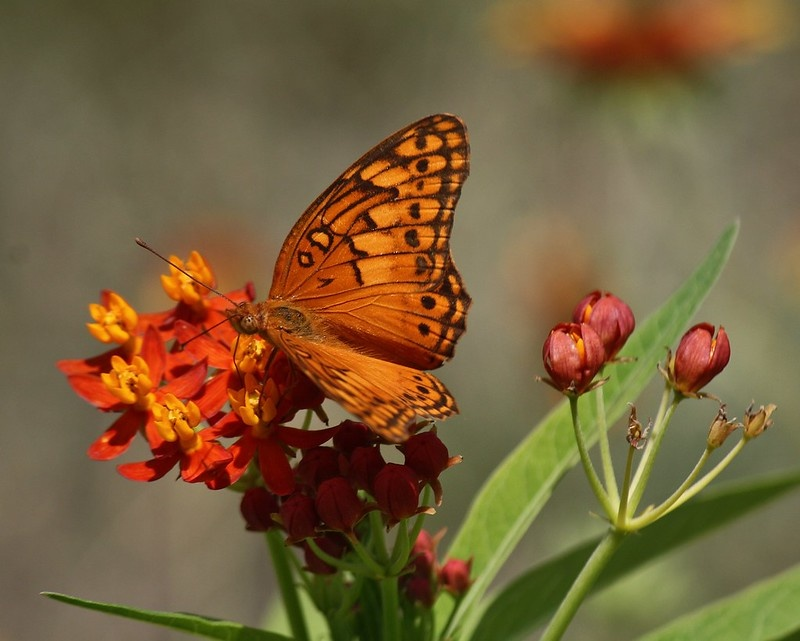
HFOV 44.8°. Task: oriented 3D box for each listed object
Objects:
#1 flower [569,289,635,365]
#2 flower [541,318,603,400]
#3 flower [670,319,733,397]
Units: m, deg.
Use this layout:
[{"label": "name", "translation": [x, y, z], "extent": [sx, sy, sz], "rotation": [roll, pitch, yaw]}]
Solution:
[{"label": "flower", "translation": [0.424, 0.019, 2.048], "extent": [0.128, 0.170, 0.137], "rotation": [-7, 15, -12]}, {"label": "flower", "translation": [0.347, 0.075, 1.967], "extent": [0.117, 0.163, 0.132], "rotation": [1, 3, 34]}, {"label": "flower", "translation": [0.599, 0.082, 1.930], "extent": [0.082, 0.165, 0.085], "rotation": [17, 6, 1]}]
